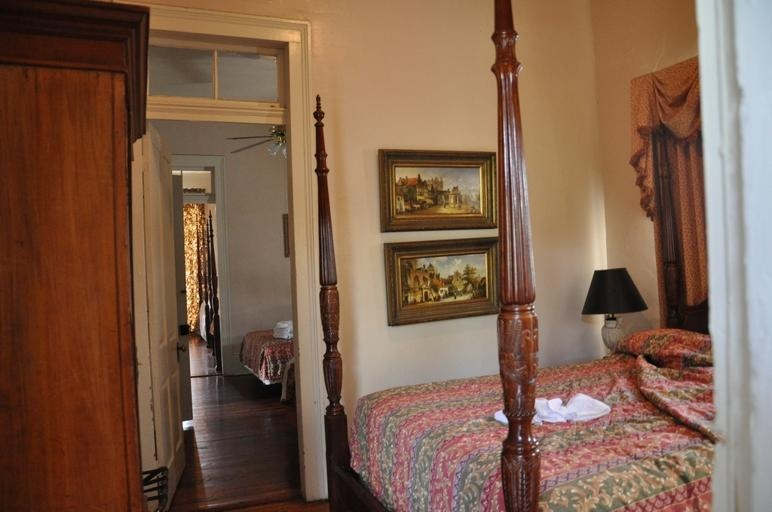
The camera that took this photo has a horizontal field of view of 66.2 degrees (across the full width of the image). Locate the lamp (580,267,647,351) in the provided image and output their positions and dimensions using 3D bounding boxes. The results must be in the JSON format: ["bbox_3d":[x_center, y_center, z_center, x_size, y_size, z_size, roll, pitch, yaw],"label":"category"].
[{"bbox_3d":[1.627,0.445,4.226,0.374,0.619,0.396,13,-17,-34],"label":"lamp"}]

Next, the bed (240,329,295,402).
[{"bbox_3d":[-1.330,1.241,6.755,0.536,0.727,1.450,-6,1,-14],"label":"bed"}]
